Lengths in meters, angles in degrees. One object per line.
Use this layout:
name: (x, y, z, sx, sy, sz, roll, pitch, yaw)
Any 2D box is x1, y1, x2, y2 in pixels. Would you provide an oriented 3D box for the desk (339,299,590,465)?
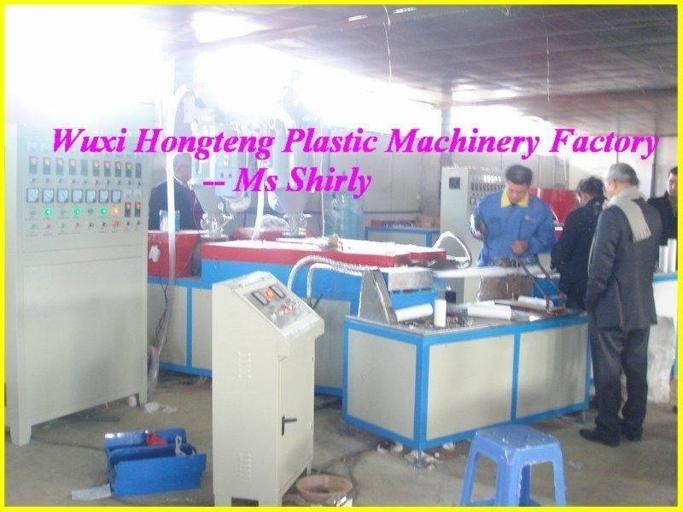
desk: (0.945, 0.837, 4.160, 1.787, 0.916, 0.654, -3, 11, -22)

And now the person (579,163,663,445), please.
person: (2.041, 0.345, 4.106, 0.570, 2.005, 0.428, -6, 12, -33)

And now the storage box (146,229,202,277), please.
storage box: (-1.528, -0.018, 5.128, 0.451, 0.345, 0.356, 1, 0, -17)

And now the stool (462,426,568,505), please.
stool: (0.933, 1.165, 3.221, 0.504, 0.464, 0.492, -2, 5, -23)

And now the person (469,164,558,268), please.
person: (1.508, -0.339, 4.957, 0.731, 0.924, 0.356, 4, 11, 20)
